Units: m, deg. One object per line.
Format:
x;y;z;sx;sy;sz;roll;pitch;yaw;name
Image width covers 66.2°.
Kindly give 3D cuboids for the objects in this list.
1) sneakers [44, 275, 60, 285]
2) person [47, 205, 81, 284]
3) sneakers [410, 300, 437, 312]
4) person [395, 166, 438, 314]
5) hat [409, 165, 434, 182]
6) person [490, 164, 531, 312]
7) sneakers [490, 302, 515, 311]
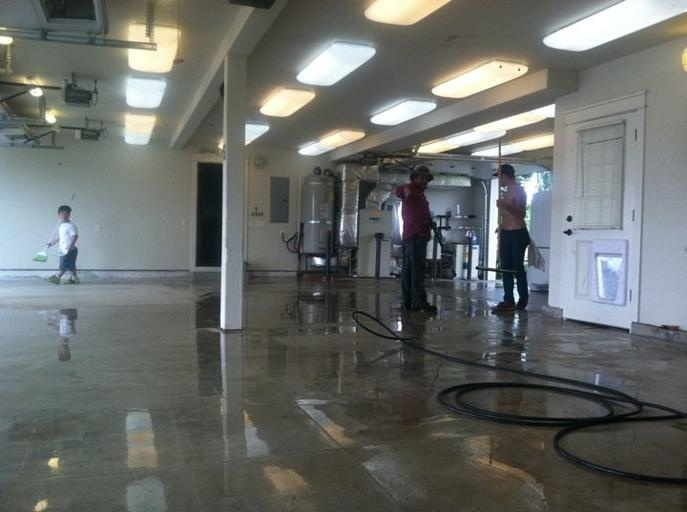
-5.860;0.492;10.634;0.151;0.190;0.441;7;4;-43;sneakers
-5.896;-0.208;11.052;0.572;1.654;1.499;-6;14;-28;person
1.083;0.692;7.116;0.374;0.167;0.127;1;-2;-1;sneakers
0.976;-0.223;7.082;0.564;1.925;0.593;2;12;8;person
1.058;-1.089;7.045;0.244;0.128;0.230;0;-1;-11;hat
2.394;-0.229;7.420;0.511;2.039;0.788;5;13;19;person
2.251;0.720;7.414;0.355;0.149;0.130;3;-7;-10;sneakers
